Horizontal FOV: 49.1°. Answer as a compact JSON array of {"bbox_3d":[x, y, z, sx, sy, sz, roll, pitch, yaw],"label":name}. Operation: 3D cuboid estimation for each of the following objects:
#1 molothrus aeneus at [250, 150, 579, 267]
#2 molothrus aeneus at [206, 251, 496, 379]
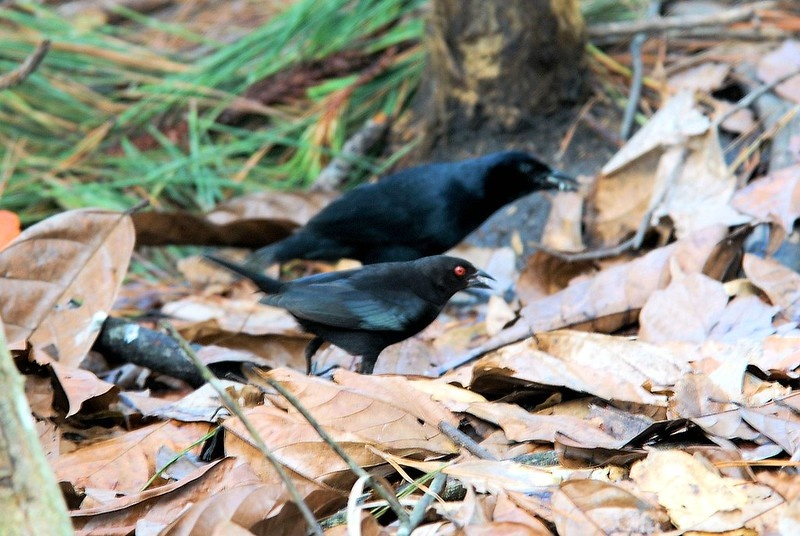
[{"bbox_3d":[-0.005,-0.261,3.998,1.699,0.450,0.525,-2,79,-13],"label":"molothrus aeneus"},{"bbox_3d":[-0.255,0.190,3.627,1.220,0.492,0.358,4,8,-8],"label":"molothrus aeneus"}]
